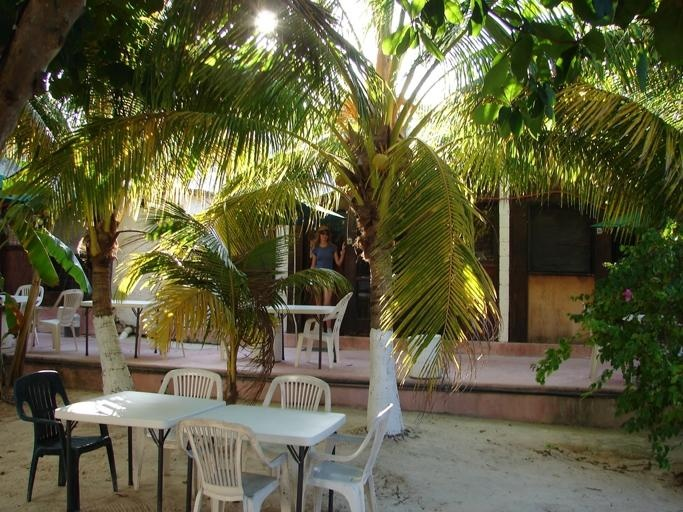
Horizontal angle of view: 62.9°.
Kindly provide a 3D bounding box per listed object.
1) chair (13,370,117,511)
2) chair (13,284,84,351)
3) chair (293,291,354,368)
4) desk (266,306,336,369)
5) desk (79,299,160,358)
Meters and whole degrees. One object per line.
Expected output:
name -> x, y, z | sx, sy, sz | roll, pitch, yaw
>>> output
chair -> -2.508, 1.648, 5.130 | 0.906, 1.189, 1.000 | -2, -1, -7
chair -> -5.495, 1.161, 10.529 | 0.951, 1.725, 1.157 | -3, -8, 29
chair -> -0.315, 1.180, 9.400 | 0.974, 1.669, 1.050 | 1, -2, 13
desk -> -0.641, 1.320, 8.681 | 0.846, 1.142, 1.201 | 1, 0, 18
desk -> -3.981, 1.201, 9.671 | 1.085, 0.913, 0.594 | 4, 0, -31
